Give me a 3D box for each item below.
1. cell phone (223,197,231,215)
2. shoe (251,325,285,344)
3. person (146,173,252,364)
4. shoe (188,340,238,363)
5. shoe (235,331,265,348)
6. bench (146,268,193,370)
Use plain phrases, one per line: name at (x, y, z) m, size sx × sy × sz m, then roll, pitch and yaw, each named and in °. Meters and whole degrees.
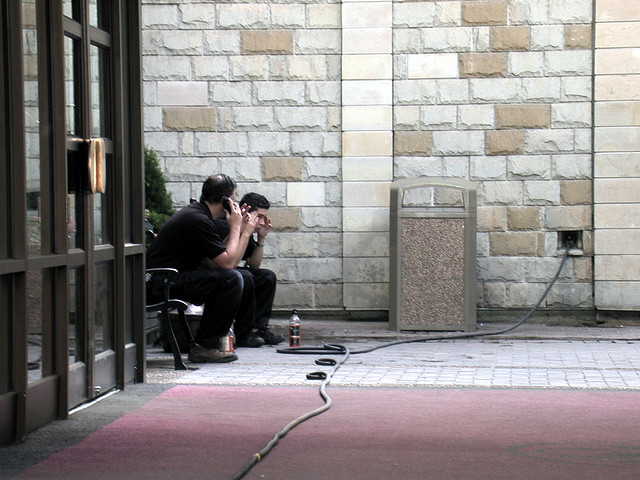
cell phone at (-0.828, -0.315, 6.541) m, size 0.079 × 0.102 × 0.039 m, roll 12°, pitch 32°, yaw 37°
shoe at (-0.572, 0.944, 7.505) m, size 0.390 × 0.232 × 0.127 m, roll -4°, pitch 8°, yaw -14°
person at (-1.055, 0.218, 6.588) m, size 1.011 × 1.536 × 1.011 m, roll 4°, pitch 3°, yaw 28°
shoe at (-0.934, 0.954, 6.338) m, size 0.449 × 0.189 × 0.148 m, roll 0°, pitch 1°, yaw -7°
shoe at (-0.693, 0.971, 7.282) m, size 0.355 × 0.217 × 0.113 m, roll -2°, pitch 3°, yaw -7°
bench at (-1.264, 0.628, 6.176) m, size 0.386 × 0.789 × 0.623 m, roll 0°, pitch 1°, yaw -10°
